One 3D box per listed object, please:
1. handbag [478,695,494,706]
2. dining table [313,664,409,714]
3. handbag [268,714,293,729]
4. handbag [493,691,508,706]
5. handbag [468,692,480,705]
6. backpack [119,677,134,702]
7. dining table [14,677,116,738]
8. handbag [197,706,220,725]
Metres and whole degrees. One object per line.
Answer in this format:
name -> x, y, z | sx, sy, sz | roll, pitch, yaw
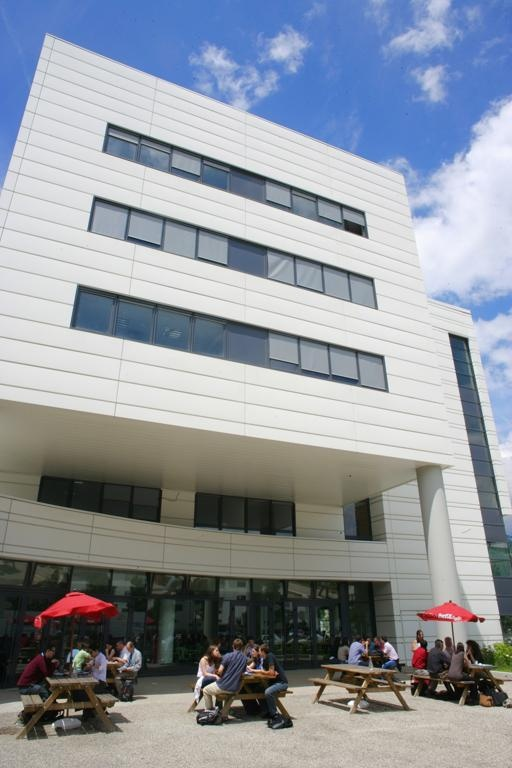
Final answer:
handbag -> 4.785, 6.580, 9.801 | 0.103, 0.204, 0.208 | 23, -27, -12
dining table -> 2.186, 6.499, 10.183 | 1.819, 0.950, 3.438 | -3, -23, 5
handbag -> 0.389, 5.219, 7.263 | 0.396, 0.183, 0.156 | 15, -61, -23
handbag -> 5.114, 6.589, 9.850 | 0.235, 0.089, 0.237 | -14, -25, 41
handbag -> 4.700, 6.786, 10.158 | 0.223, 0.211, 0.055 | 16, -42, -7
backpack -> -2.858, 6.697, 10.327 | 0.190, 0.547, 0.516 | 0, 0, 3
dining table -> -2.865, 4.863, 7.077 | 1.194, 0.618, 1.222 | 15, -32, -12
handbag -> -0.755, 5.266, 7.571 | 0.245, 0.130, 0.298 | 5, -17, -8
